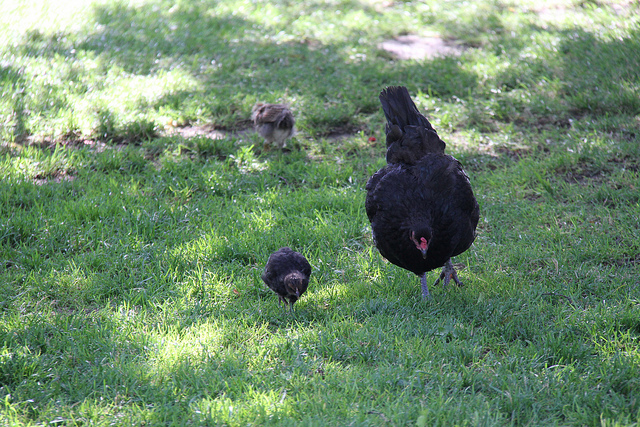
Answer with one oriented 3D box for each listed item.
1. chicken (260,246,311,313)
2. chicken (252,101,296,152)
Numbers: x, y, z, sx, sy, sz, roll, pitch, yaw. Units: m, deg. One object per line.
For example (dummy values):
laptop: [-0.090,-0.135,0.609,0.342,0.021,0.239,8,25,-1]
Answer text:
chicken: [-0.364,0.675,7.328,0.388,0.463,0.693,2,3,-6]
chicken: [-0.682,-1.227,9.598,0.674,0.703,0.420,3,10,41]
